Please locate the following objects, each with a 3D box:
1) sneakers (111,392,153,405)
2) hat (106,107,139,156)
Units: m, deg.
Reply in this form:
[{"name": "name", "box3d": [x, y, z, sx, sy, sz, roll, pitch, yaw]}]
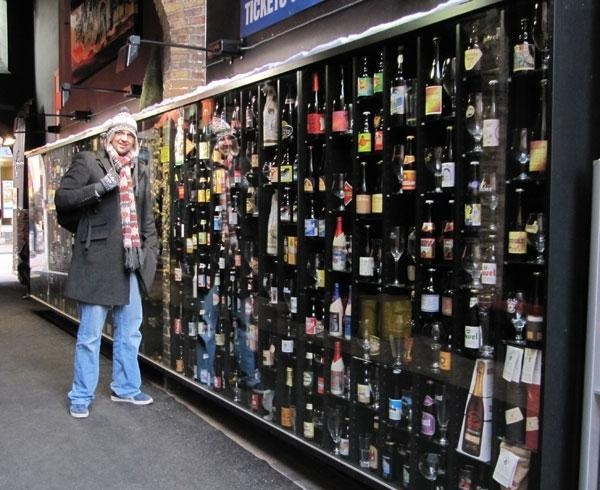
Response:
[{"name": "sneakers", "box3d": [-1.205, 1.109, 3.835, 0.288, 0.143, 0.117, 1, -2, -5]}, {"name": "hat", "box3d": [-1.270, -0.782, 3.658, 0.251, 0.438, 0.269, -4, 10, -31]}]
